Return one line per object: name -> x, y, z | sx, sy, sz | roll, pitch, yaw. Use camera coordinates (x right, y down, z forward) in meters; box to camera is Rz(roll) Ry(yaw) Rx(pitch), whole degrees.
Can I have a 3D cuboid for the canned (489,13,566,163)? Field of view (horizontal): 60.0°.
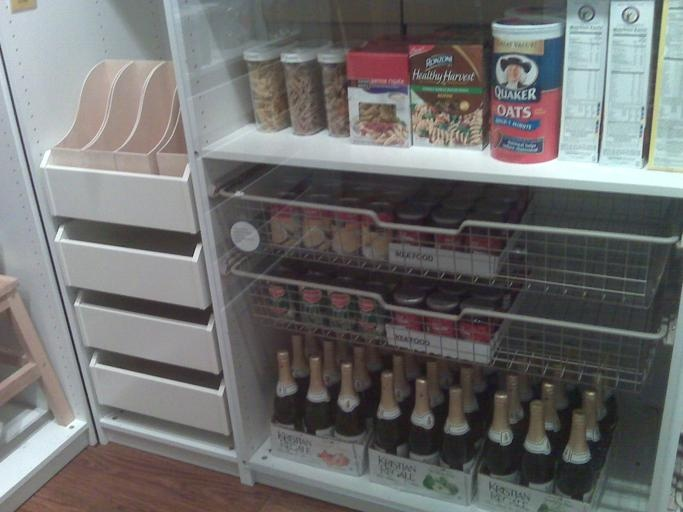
canned -> 0.366, -0.320, 1.150 | 0.116, 0.261, 0.101 | -5, 32, -1
